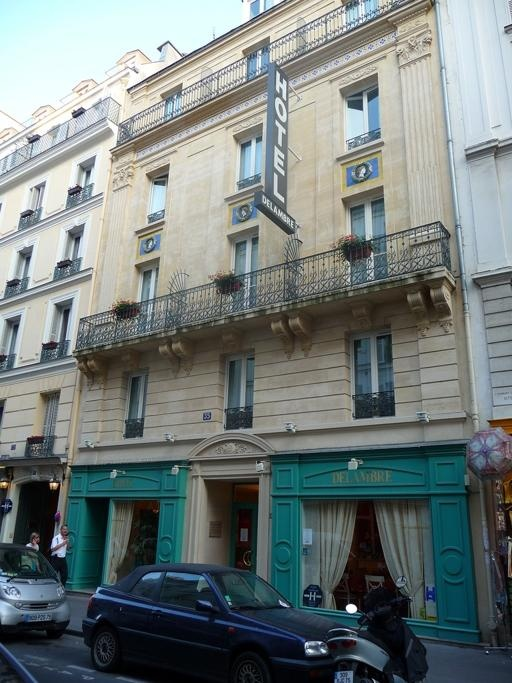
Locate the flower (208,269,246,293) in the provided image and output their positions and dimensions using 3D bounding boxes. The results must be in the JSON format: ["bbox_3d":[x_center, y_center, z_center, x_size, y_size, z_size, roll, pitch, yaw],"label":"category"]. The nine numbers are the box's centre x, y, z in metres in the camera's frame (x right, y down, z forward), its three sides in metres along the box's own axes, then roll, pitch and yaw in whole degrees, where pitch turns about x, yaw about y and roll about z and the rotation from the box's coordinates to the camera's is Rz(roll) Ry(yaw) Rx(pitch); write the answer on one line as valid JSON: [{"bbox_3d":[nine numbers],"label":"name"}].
[{"bbox_3d":[-0.708,-1.476,13.734,0.919,0.782,0.361,-9,-19,26],"label":"flower"}]

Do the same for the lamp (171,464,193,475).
[{"bbox_3d":[-1.852,3.142,13.441,0.369,0.178,0.291,2,-5,-5],"label":"lamp"}]

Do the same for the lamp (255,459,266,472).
[{"bbox_3d":[0.084,2.768,12.033,0.136,0.276,0.271,11,-20,-32],"label":"lamp"}]

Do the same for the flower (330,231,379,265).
[{"bbox_3d":[2.073,-1.983,11.485,0.673,0.467,0.670,-10,-24,38],"label":"flower"}]

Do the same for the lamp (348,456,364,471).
[{"bbox_3d":[1.967,2.363,10.732,0.386,0.208,0.382,-3,11,21],"label":"lamp"}]

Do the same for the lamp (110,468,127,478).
[{"bbox_3d":[-3.798,3.634,14.997,0.436,0.258,0.235,4,-8,1],"label":"lamp"}]

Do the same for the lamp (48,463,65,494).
[{"bbox_3d":[-6.086,4.151,16.724,0.427,0.799,1.002,7,-19,-22],"label":"lamp"}]
